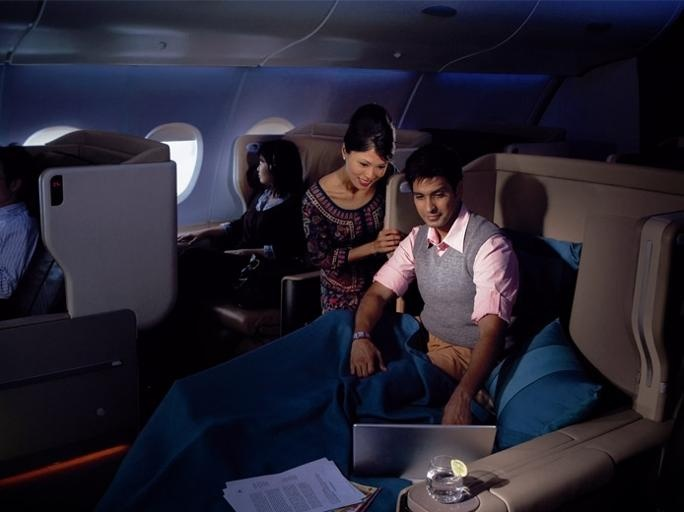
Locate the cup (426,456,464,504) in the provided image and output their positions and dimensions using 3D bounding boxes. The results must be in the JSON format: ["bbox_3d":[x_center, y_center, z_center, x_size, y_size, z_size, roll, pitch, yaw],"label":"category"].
[{"bbox_3d":[0.273,0.572,1.361,0.093,0.088,0.103,-3,10,-13],"label":"cup"}]

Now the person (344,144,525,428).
[{"bbox_3d":[0.314,0.059,1.886,0.588,0.907,0.520,3,11,22],"label":"person"}]

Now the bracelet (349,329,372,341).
[{"bbox_3d":[0.069,0.293,1.961,0.057,0.034,0.058,-21,-42,39],"label":"bracelet"}]
